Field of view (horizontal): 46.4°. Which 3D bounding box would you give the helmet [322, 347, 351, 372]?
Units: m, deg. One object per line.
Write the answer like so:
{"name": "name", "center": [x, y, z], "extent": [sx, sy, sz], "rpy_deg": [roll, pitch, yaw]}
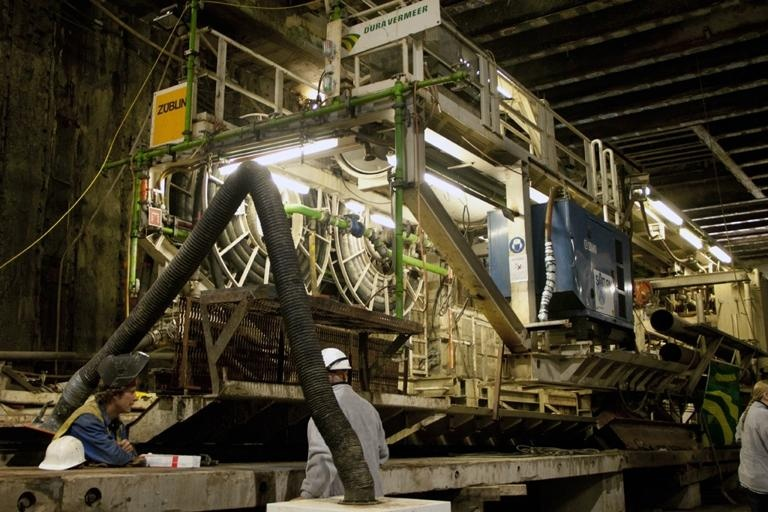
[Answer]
{"name": "helmet", "center": [-0.756, 1.594, 13.716], "extent": [0.383, 0.227, 0.289], "rpy_deg": [-1, -2, -35]}

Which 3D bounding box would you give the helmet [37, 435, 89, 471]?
{"name": "helmet", "center": [-4.842, 3.015, 13.636], "extent": [0.424, 0.329, 0.570], "rpy_deg": [3, -13, 7]}
